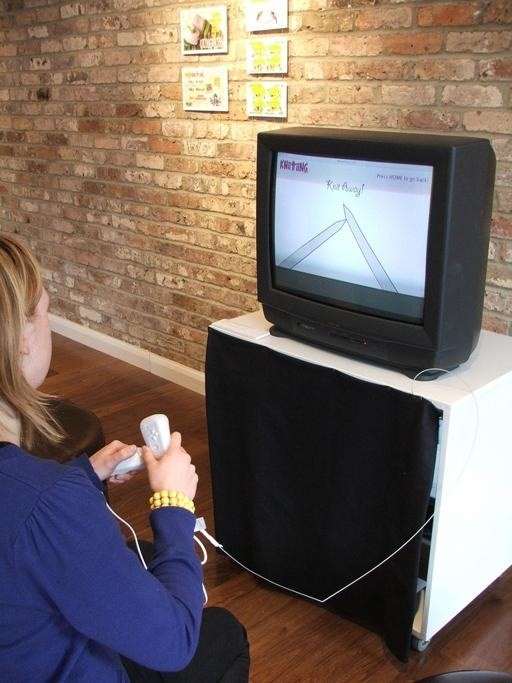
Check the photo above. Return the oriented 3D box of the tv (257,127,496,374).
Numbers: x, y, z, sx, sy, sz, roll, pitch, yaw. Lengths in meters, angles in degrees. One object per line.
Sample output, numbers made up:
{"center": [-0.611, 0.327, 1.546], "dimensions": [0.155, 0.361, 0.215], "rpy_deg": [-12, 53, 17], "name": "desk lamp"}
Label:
{"center": [0.280, -0.212, 1.315], "dimensions": [0.277, 0.453, 0.484], "rpy_deg": [-30, 41, -34], "name": "tv"}
